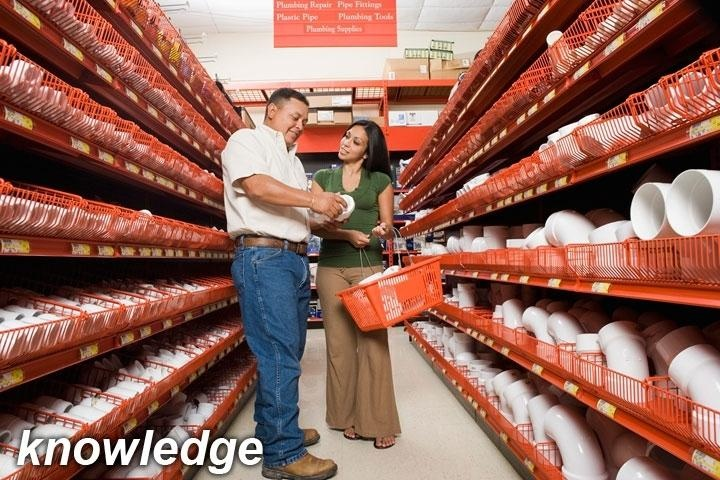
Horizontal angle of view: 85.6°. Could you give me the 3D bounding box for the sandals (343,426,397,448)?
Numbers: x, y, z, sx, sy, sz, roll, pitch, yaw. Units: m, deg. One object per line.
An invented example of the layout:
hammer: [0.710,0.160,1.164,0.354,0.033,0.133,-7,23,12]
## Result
sandals: [0.062,1.288,2.515,0.342,0.083,0.120,1,1,17]
